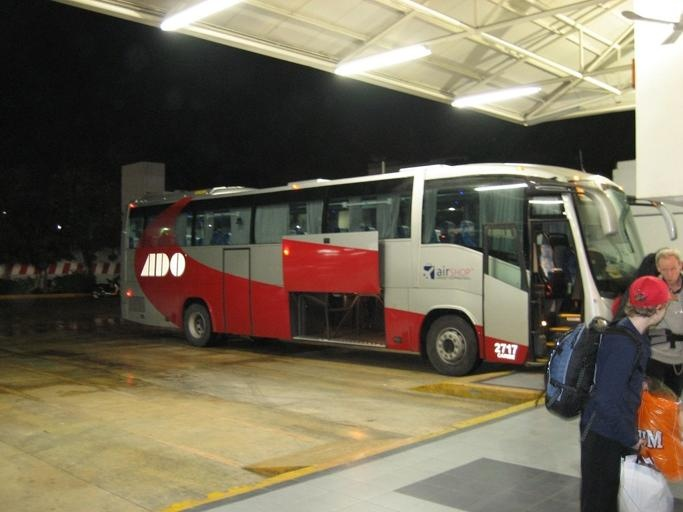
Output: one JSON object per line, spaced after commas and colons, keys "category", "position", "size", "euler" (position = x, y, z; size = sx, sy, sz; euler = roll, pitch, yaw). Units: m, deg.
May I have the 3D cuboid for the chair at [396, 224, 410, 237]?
{"category": "chair", "position": [1.396, -0.568, 12.114], "size": [0.245, 0.280, 0.450], "euler": [-3, 10, -27]}

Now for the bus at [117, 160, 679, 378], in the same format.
{"category": "bus", "position": [-1.168, -0.067, 16.251], "size": [17.297, 5.514, 4.957], "euler": [-1, 0, 41]}

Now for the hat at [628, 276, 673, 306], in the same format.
{"category": "hat", "position": [2.166, 0.260, 3.799], "size": [0.231, 0.184, 0.342], "euler": [-15, 16, 48]}

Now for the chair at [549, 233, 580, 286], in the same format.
{"category": "chair", "position": [4.450, 0.082, 10.665], "size": [0.474, 1.006, 0.223], "euler": [-6, 9, 9]}
